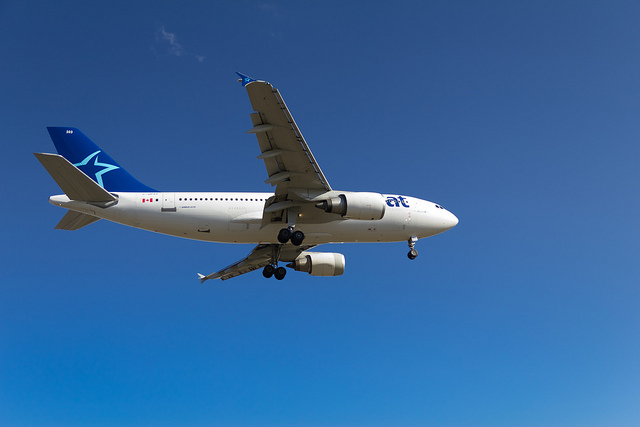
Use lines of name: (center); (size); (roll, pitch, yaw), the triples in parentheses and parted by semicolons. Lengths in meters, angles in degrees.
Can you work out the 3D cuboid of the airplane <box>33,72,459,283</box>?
airplane: (-2.314, -0.304, 34.732); (20.572, 5.175, 13.185); (6, -42, -9)
